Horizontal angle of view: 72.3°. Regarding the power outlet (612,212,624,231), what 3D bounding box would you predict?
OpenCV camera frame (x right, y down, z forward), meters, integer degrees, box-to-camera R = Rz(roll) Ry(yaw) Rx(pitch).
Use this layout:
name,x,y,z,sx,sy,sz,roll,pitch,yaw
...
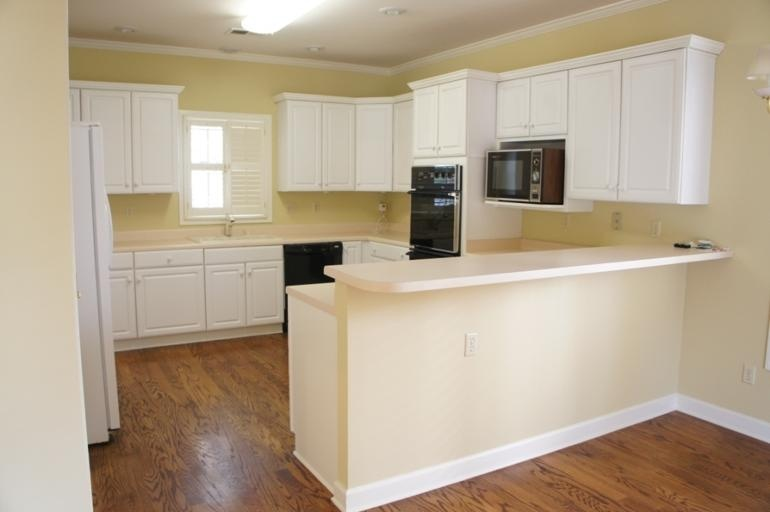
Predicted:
name,x,y,z,sx,sy,sz,roll,pitch,yaw
power outlet,2.009,-0.303,4.544,0.026,0.156,0.112,-9,16,-32

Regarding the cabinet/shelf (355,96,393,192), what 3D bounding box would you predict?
name,x,y,z,sx,sy,sz,roll,pitch,yaw
cabinet/shelf,-0.130,-1.357,6.502,0.452,1.042,0.234,0,14,-3

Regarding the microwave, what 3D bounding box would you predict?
name,x,y,z,sx,sy,sz,roll,pitch,yaw
microwave,1.231,-0.732,4.759,0.519,0.534,0.812,-3,5,-33

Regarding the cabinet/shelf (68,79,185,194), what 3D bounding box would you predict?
name,x,y,z,sx,sy,sz,roll,pitch,yaw
cabinet/shelf,-2.638,-1.205,5.678,1.159,1.071,0.398,2,5,6

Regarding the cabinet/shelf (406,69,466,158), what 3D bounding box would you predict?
name,x,y,z,sx,sy,sz,roll,pitch,yaw
cabinet/shelf,0.660,-1.383,5.419,0.309,0.761,0.842,-6,11,-32

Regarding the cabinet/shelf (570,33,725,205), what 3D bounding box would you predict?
name,x,y,z,sx,sy,sz,roll,pitch,yaw
cabinet/shelf,1.988,-1.035,4.115,1.054,1.203,0.434,12,18,40

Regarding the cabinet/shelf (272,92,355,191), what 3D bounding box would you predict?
name,x,y,z,sx,sy,sz,roll,pitch,yaw
cabinet/shelf,-0.779,-1.376,6.399,0.911,1.124,0.250,-7,16,-27

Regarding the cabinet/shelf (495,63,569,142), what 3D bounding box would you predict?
name,x,y,z,sx,sy,sz,roll,pitch,yaw
cabinet/shelf,1.456,-1.375,4.888,0.309,0.607,0.839,-9,13,-28

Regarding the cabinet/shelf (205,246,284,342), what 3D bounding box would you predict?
name,x,y,z,sx,sy,sz,roll,pitch,yaw
cabinet/shelf,-1.661,0.342,5.976,0.892,0.970,0.540,-4,7,-31

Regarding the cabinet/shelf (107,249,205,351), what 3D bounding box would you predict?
name,x,y,z,sx,sy,sz,roll,pitch,yaw
cabinet/shelf,-2.529,0.397,5.585,1.042,0.925,0.662,-2,2,-44

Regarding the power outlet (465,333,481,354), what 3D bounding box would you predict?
name,x,y,z,sx,sy,sz,roll,pitch,yaw
power outlet,0.555,0.555,3.349,0.141,0.175,0.021,-2,6,-33
